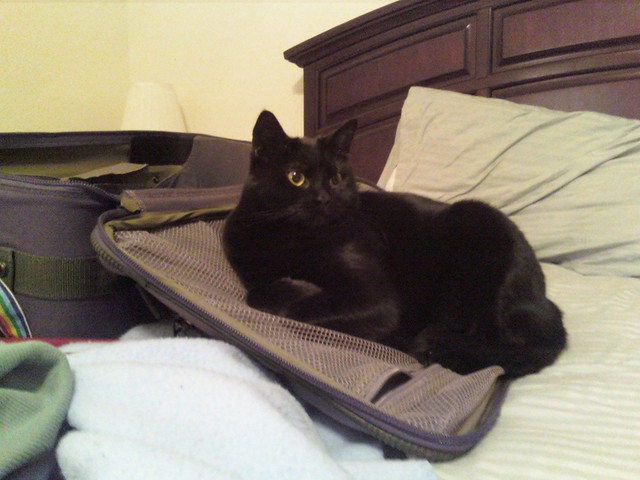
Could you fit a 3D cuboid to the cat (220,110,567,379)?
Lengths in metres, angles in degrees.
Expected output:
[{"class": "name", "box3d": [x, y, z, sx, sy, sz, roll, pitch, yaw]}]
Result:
[{"class": "cat", "box3d": [0.212, 0.036, 1.248, 0.759, 0.454, 0.513, 19, -24, -26]}]
